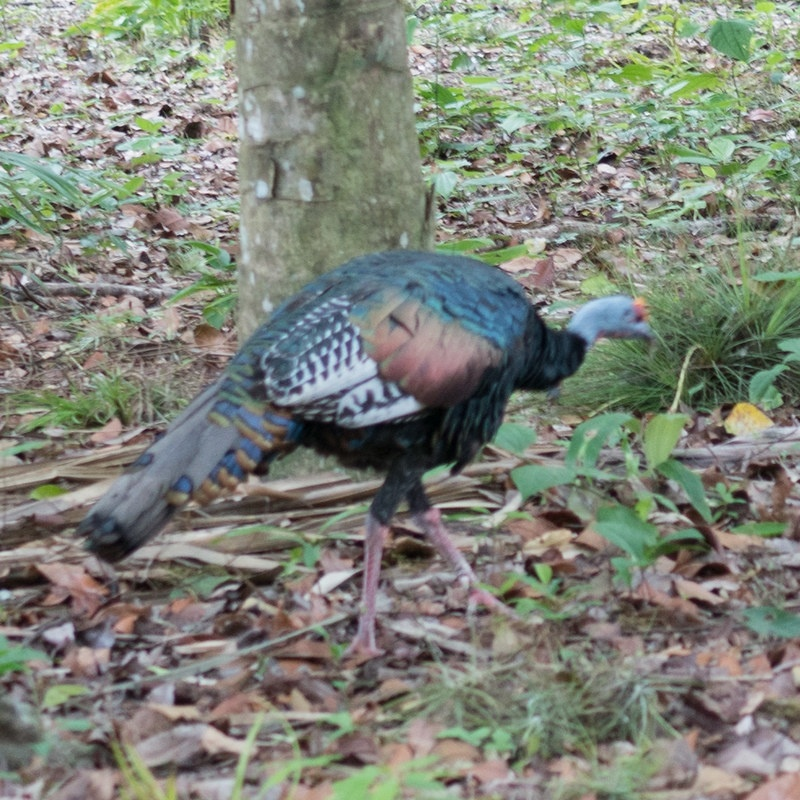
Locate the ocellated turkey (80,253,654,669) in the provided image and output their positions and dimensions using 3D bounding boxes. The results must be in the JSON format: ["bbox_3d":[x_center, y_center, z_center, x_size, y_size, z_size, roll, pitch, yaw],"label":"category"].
[{"bbox_3d":[-0.005,0.117,3.451,2.142,1.172,0.730,-23,33,-37],"label":"ocellated turkey"}]
